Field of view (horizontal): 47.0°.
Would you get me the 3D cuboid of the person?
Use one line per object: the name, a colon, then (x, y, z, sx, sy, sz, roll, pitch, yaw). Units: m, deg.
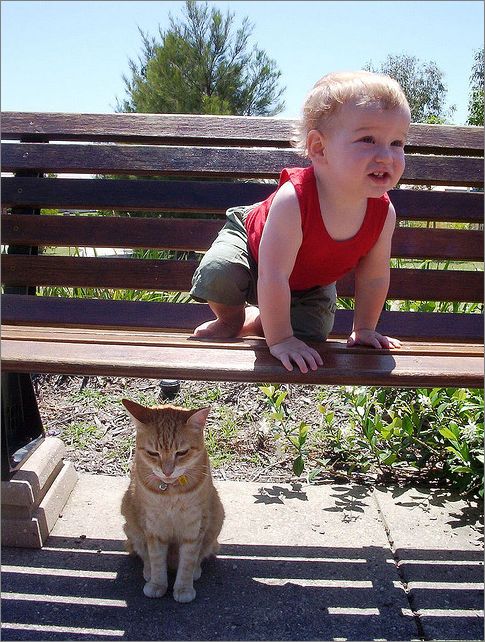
person: (0.191, -0.267, 1.587, 0.546, 0.716, 0.640, -5, 9, -39)

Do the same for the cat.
cat: (-0.202, 0.430, 1.443, 0.284, 0.492, 0.352, 2, 11, 2)
